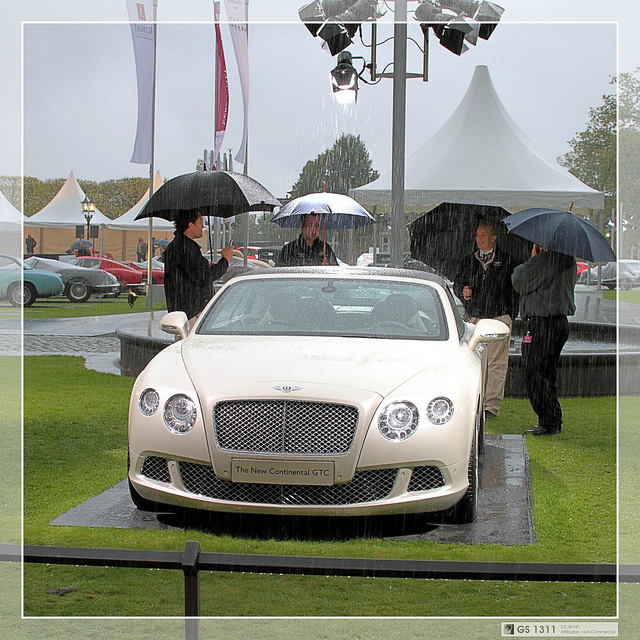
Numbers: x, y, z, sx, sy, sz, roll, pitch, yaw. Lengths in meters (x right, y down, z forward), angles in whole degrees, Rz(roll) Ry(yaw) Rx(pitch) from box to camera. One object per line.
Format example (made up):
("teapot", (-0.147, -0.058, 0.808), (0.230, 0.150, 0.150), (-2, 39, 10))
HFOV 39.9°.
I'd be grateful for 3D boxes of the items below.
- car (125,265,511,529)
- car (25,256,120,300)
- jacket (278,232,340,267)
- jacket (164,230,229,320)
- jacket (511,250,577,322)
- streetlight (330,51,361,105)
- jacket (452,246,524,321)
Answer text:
("car", (0.074, 0.465, 5.198), (1.269, 0.935, 2.370), (1, 3, 11))
("car", (-7.393, -1.077, 26.751), (2.148, 0.870, 1.207), (8, 2, -12))
("jacket", (-0.174, -0.705, 8.856), (0.495, 0.287, 0.427), (-3, 16, -6))
("jacket", (-1.120, -0.433, 7.793), (0.406, 0.805, 0.475), (3, 12, -2))
("jacket", (2.133, -0.393, 8.255), (0.452, 0.789, 0.587), (5, 15, 35))
("streetlight", (0.329, -3.118, 11.364), (0.357, 0.664, 0.548), (0, 14, 2))
("jacket", (1.654, -0.339, 8.714), (0.681, 0.794, 0.392), (7, -3, 10))
